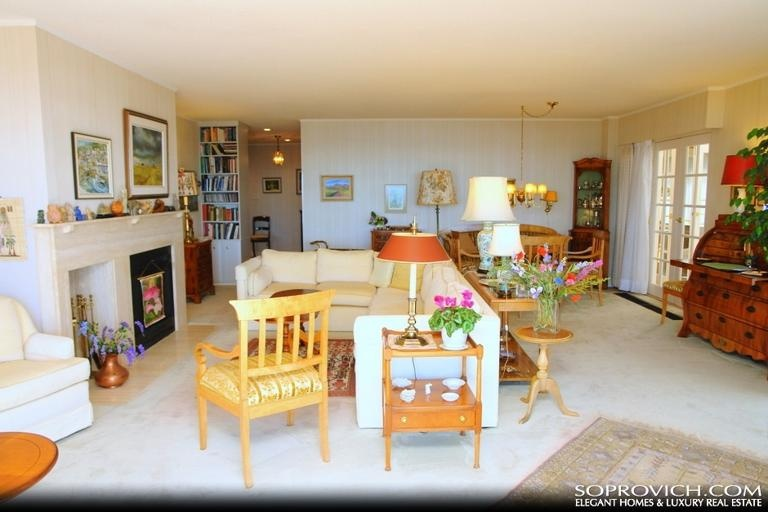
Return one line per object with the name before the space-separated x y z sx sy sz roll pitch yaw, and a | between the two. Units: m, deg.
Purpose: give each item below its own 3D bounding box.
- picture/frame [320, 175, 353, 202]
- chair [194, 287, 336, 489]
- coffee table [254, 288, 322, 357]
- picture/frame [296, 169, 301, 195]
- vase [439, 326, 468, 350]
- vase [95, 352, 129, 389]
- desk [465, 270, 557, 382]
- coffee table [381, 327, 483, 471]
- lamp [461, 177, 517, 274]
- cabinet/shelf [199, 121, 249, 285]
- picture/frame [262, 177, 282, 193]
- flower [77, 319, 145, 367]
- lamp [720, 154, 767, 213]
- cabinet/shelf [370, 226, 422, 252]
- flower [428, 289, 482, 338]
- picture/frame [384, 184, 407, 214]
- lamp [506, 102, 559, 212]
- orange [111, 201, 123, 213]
picture/frame | -0.883 -1.287 9.198 0.550 0.374 0.039 0 3 -4
chair | -0.980 0.997 4.159 1.087 1.255 1.072 0 0 30
coffee table | -1.090 0.606 5.447 0.528 0.327 0.511 -17 -5 35
picture/frame | -2.114 -1.831 12.209 0.111 0.604 0.136 1 12 10
vase | 0.551 0.657 3.959 0.183 0.119 0.191 0 0 -34
vase | -2.743 1.187 5.177 0.404 0.330 0.368 2 -3 -17
desk | 1.184 0.651 4.653 0.372 0.535 1.184 -2 10 0
coffee table | 0.385 1.133 4.027 0.782 0.979 0.632 -1 11 1
lamp | 1.063 -0.304 5.288 0.618 1.066 0.672 -10 14 -39
cabinet/shelf | -2.934 -1.159 9.494 1.031 2.996 0.925 0 11 -3
picture/frame | -2.757 -1.784 12.223 0.467 0.329 0.036 1 1 -4
flower | -2.860 1.002 5.109 0.494 0.298 0.402 -10 -8 12
lamp | 4.424 -0.941 6.128 0.446 0.520 0.429 7 3 13
cabinet/shelf | 0.212 -0.361 8.990 0.970 0.757 0.495 -1 4 -2
flower | 0.536 0.446 3.943 0.398 0.195 0.376 -29 36 -30
picture/frame | 0.216 -1.092 9.216 0.663 0.634 0.051 0 11 1
lamp | 2.419 -1.495 7.969 0.768 1.835 3.024 3 11 18
orange | -2.975 -0.536 5.513 0.118 0.136 0.076 -5 12 -24
